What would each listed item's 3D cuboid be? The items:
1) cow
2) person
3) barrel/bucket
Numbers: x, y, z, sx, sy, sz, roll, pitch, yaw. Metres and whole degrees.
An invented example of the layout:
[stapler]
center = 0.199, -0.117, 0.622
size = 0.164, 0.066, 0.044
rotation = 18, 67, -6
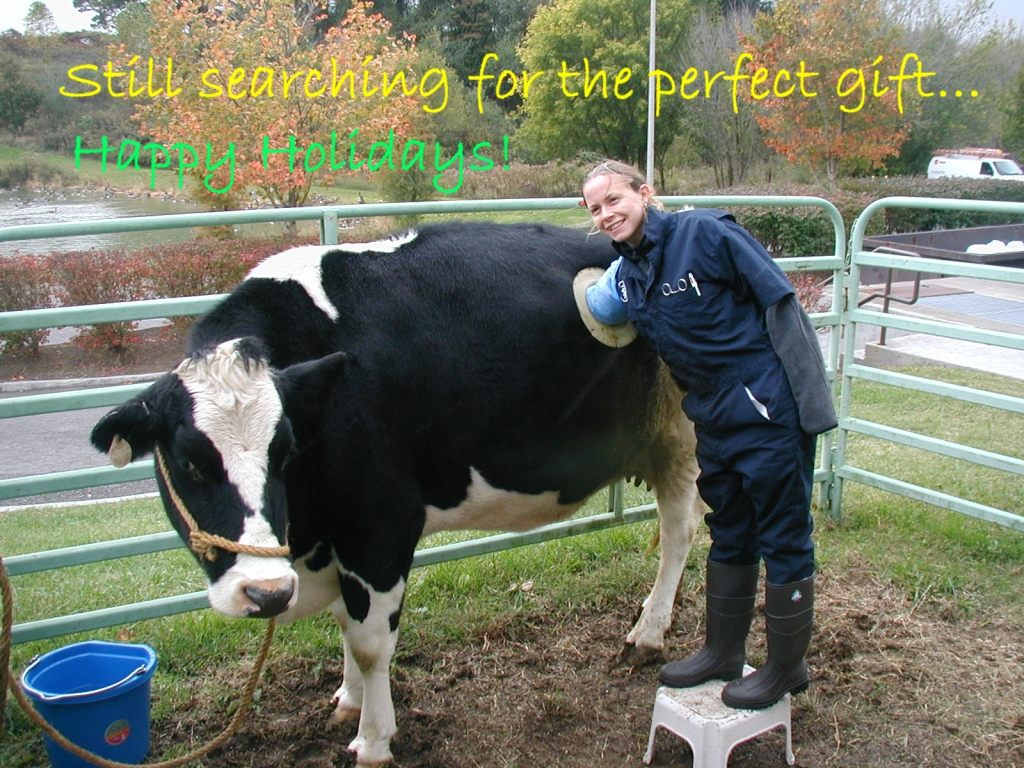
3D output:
[cow]
center = -0.476, 0.645, 4.468
size = 2.584, 1.868, 0.887
rotation = -5, 2, -31
[person]
center = 0.963, 0.237, 4.234
size = 1.067, 2.520, 0.645
rotation = 3, 15, 21
[barrel/bucket]
center = -2.008, 1.497, 4.264
size = 0.531, 0.510, 0.573
rotation = 6, 6, -1
